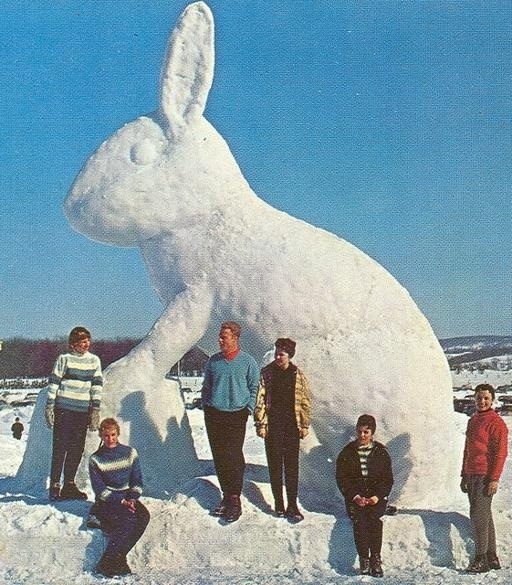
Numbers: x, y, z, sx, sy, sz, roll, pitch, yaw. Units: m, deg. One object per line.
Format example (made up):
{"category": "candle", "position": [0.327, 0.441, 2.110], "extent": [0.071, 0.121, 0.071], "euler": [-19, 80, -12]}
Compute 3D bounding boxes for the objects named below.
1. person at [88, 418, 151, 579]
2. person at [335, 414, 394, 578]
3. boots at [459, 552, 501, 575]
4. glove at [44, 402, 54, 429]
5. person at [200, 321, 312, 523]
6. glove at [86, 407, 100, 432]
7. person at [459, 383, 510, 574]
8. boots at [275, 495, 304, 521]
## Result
{"category": "person", "position": [-0.924, 1.453, 5.671], "extent": [0.397, 0.875, 0.227], "euler": [1, -1, -12]}
{"category": "person", "position": [0.720, 1.366, 5.727], "extent": [0.389, 1.017, 0.340], "euler": [0, -1, 15]}
{"category": "boots", "position": [1.489, 1.849, 5.704], "extent": [0.277, 0.204, 0.105], "euler": [6, -17, -4]}
{"category": "glove", "position": [-1.512, 0.911, 6.195], "extent": [0.061, 0.179, 0.115], "euler": [1, -1, -5]}
{"category": "person", "position": [-0.002, 0.897, 5.904], "extent": [0.739, 1.369, 0.295], "euler": [1, -1, -9]}
{"category": "glove", "position": [-1.186, 0.932, 6.175], "extent": [0.038, 0.152, 0.108], "euler": [4, 3, 12]}
{"category": "person", "position": [1.574, 1.276, 5.778], "extent": [0.274, 1.250, 0.222], "euler": [0, -1, 16]}
{"category": "boots", "position": [0.271, 1.525, 5.847], "extent": [0.267, 0.210, 0.092], "euler": [-3, -11, 30]}
